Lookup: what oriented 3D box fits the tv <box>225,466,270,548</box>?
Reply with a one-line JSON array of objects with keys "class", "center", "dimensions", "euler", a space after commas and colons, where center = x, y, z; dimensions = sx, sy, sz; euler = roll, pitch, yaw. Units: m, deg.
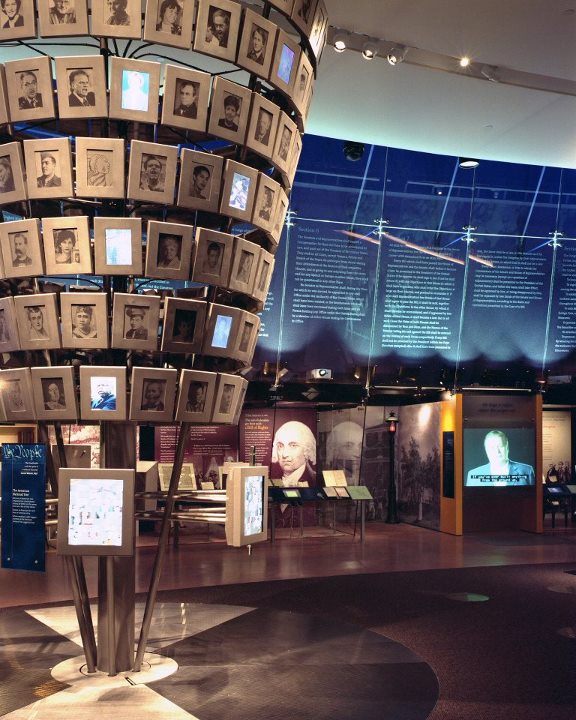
[{"class": "tv", "center": [-0.332, 1.117, 4.599], "dimensions": [0.243, 0.651, 0.619], "euler": [1, -4, 14]}]

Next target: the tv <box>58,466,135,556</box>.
[{"class": "tv", "center": [-1.257, 1.003, 3.945], "dimensions": [0.607, 0.646, 0.086], "euler": [-1, -6, 4]}]

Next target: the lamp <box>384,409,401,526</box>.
[{"class": "lamp", "center": [2.464, 2.537, 14.277], "dimensions": [0.313, 2.565, 0.787], "euler": [1, -4, 10]}]

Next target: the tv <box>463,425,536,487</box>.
[{"class": "tv", "center": [4.520, 2.022, 12.932], "dimensions": [1.953, 1.555, 0.140], "euler": [3, -8, -21]}]
